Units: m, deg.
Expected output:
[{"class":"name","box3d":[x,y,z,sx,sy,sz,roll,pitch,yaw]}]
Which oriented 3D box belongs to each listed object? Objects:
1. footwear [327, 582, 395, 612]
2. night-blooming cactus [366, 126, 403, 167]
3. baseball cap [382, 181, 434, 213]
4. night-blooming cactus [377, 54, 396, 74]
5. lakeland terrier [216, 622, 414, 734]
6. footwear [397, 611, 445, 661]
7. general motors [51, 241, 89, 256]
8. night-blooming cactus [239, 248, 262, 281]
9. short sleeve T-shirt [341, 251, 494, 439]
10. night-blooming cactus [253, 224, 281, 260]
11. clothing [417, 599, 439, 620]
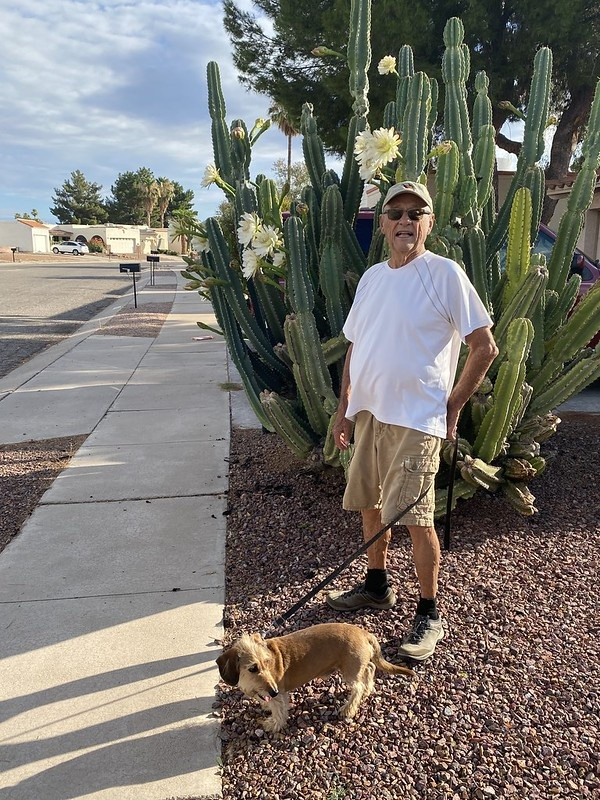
[{"class":"footwear","box3d":[0.262,0.878,2.902,0.323,0.126,0.112,4,-1,2]},{"class":"night-blooming cactus","box3d":[0.438,-1.298,3.325,0.154,0.204,0.237,1,15,8]},{"class":"baseball cap","box3d":[0.411,-0.777,2.487,0.176,0.122,0.259,1,14,6]},{"class":"night-blooming cactus","box3d":[0.547,-2.104,4.058,0.083,0.150,0.273,2,15,11]},{"class":"lakeland terrier","box3d":[0.058,0.940,2.238,0.684,0.279,0.223,0,5,-21]},{"class":"footwear","box3d":[0.478,0.933,2.531,0.095,0.112,0.248,-9,-10,30]},{"class":"general motors","box3d":[-23.839,-15.637,67.217,2.949,1.260,3.953,-2,14,-7]},{"class":"night-blooming cactus","box3d":[-0.291,-0.832,3.969,0.187,0.173,0.076,-1,8,-14]},{"class":"short sleeve T-shirt","box3d":[0.394,-0.215,2.454,0.287,0.660,0.568,-14,20,-39]},{"class":"night-blooming cactus","box3d":[-0.203,-0.937,3.829,0.166,0.172,0.164,1,15,6]},{"class":"clothing","box3d":[0.513,0.837,2.596,0.055,0.104,0.115,-3,-6,27]}]
